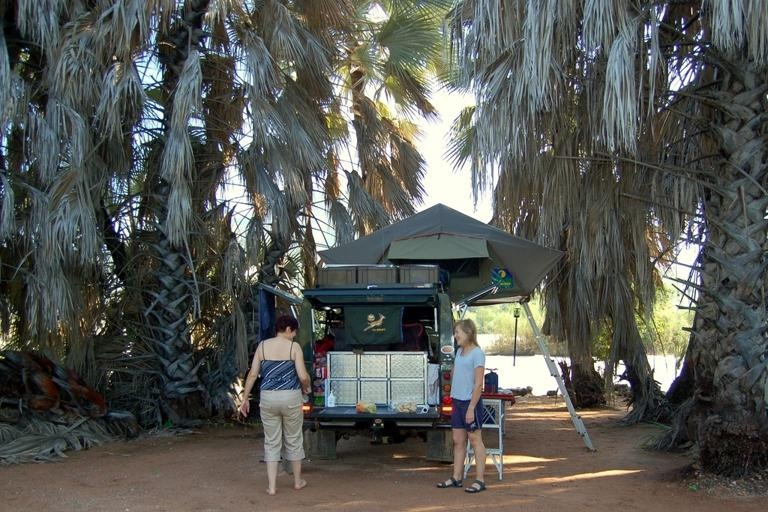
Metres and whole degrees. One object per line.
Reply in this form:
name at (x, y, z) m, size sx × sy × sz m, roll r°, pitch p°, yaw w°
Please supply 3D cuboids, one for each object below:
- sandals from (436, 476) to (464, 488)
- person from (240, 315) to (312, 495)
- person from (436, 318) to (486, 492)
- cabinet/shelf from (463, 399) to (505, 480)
sandals at (0.905, 3.098, 9.491) m, size 0.293 × 0.143 × 0.160 m, roll 1°, pitch -11°, yaw 8°
person at (-1.455, 1.985, 9.527) m, size 0.898 × 2.342 × 0.764 m, roll -1°, pitch 0°, yaw -16°
person at (1.133, 1.996, 9.423) m, size 0.555 × 2.277 × 0.437 m, roll 0°, pitch 1°, yaw 37°
cabinet/shelf at (1.527, 2.708, 10.414) m, size 0.580 × 1.164 × 0.666 m, roll 3°, pitch -12°, yaw -1°
